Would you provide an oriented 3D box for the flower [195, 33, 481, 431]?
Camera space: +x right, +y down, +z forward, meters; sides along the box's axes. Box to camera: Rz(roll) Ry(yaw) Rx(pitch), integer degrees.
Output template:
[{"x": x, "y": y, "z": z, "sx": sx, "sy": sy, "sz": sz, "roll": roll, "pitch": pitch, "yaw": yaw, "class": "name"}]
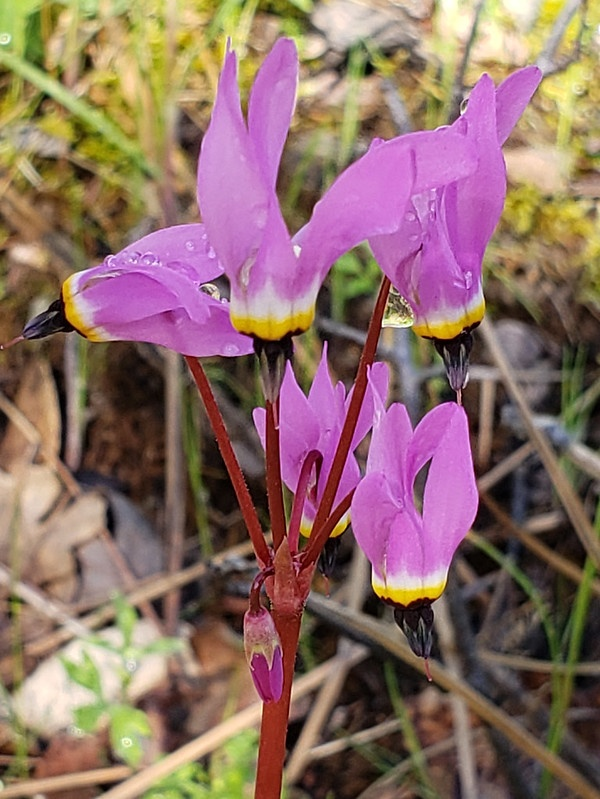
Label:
[{"x": -0.005, "y": -0.139, "z": 0.764, "sx": 0.204, "sy": 0.279, "sz": 0.226, "roll": 6, "pitch": 9, "yaw": 34, "class": "flower"}]
